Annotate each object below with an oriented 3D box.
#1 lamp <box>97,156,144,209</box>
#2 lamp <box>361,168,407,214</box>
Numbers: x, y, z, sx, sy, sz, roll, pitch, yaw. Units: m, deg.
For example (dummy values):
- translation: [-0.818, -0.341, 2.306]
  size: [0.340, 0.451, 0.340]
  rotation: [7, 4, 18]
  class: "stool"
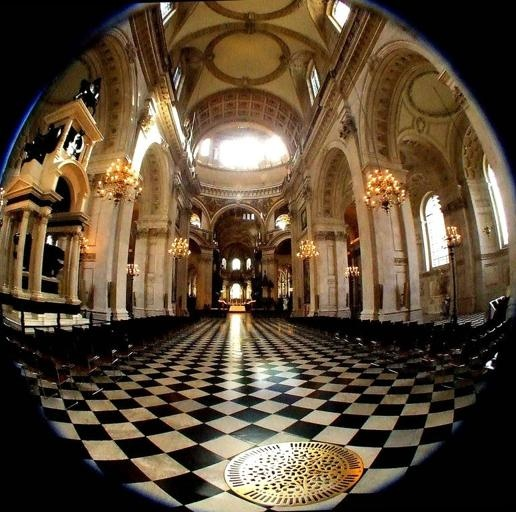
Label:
- translation: [-3.609, -1.925, 9.334]
  size: [0.762, 1.026, 0.794]
  rotation: [-2, -2, -37]
  class: "lamp"
- translation: [3.448, -1.767, 9.708]
  size: [0.722, 0.946, 0.750]
  rotation: [-4, 1, 3]
  class: "lamp"
